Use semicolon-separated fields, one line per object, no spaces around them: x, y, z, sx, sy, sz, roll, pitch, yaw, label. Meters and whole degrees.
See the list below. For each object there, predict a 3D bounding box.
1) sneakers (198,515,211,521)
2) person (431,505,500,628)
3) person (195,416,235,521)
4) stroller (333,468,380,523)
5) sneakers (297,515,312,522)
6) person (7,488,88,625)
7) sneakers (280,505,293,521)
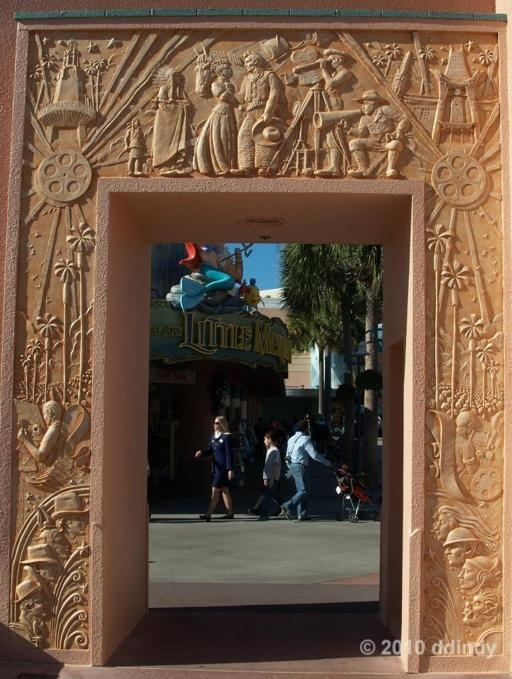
-0.814;2.831;15.354;0.203;0.084;0.076;5;1;43;sneakers
1.624;1.813;7.569;0.592;1.167;0.865;-1;-7;7;person
-0.618;2.005;15.013;0.517;1.654;1.399;-1;-6;-2;person
1.564;2.516;15.716;1.005;1.021;0.651;-1;-1;-3;stroller
0.790;2.868;15.443;0.095;0.109;0.273;-5;-25;25;sneakers
-1.659;1.632;7.700;0.606;1.015;0.182;19;4;5;person
0.492;2.798;15.584;0.127;0.218;0.334;-3;-6;-31;sneakers
